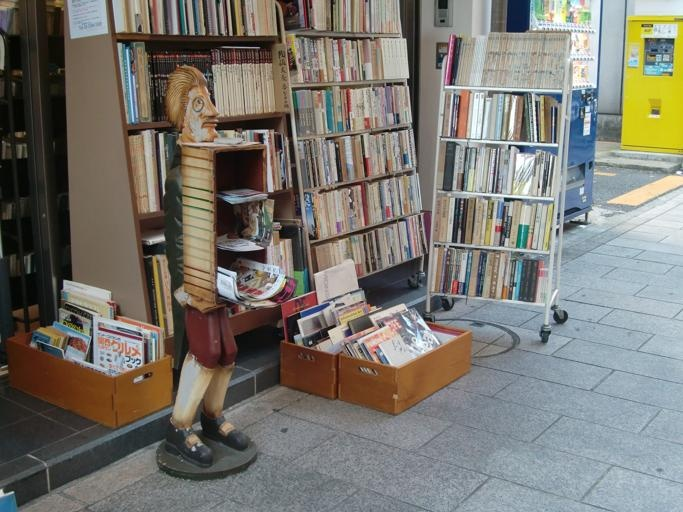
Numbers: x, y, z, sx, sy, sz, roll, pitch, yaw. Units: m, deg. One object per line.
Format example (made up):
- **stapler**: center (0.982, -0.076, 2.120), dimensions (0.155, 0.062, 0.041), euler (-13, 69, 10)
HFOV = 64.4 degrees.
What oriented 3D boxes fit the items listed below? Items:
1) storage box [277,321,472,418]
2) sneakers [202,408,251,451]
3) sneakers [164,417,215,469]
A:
- **storage box**: center (0.126, 0.727, 3.340), dimensions (0.604, 0.208, 0.660), euler (7, 13, 39)
- **sneakers**: center (-0.604, 0.880, 2.843), dimensions (0.352, 0.132, 0.115), euler (16, 23, 22)
- **sneakers**: center (-0.744, 0.910, 2.729), dimensions (0.329, 0.180, 0.119), euler (20, 22, 14)
